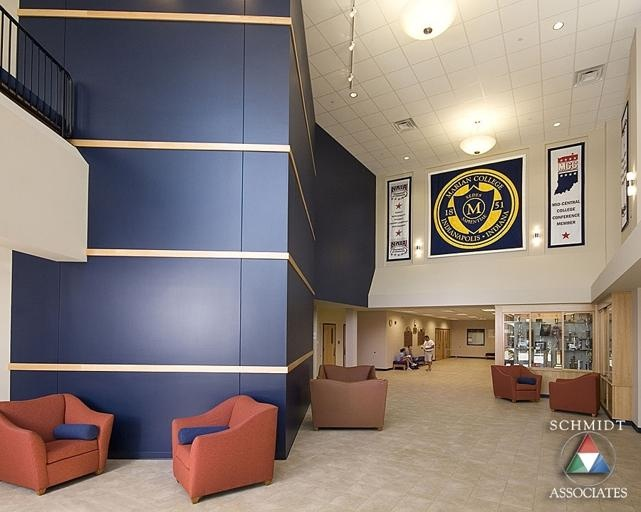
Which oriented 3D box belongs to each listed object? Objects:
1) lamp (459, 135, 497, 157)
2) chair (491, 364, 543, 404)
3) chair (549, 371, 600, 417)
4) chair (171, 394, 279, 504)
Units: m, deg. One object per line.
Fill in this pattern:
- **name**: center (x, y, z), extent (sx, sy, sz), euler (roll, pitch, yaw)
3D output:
- **lamp**: center (4.154, -2.925, 12.319), extent (0.692, 0.213, 0.689), euler (16, -23, -41)
- **chair**: center (5.346, 3.423, 12.801), extent (1.166, 0.813, 1.078), euler (2, -5, -9)
- **chair**: center (6.189, 3.203, 11.290), extent (0.988, 0.947, 0.940), euler (-3, -7, 28)
- **chair**: center (-1.358, 2.494, 6.493), extent (1.170, 1.196, 1.150), euler (4, -10, -28)
